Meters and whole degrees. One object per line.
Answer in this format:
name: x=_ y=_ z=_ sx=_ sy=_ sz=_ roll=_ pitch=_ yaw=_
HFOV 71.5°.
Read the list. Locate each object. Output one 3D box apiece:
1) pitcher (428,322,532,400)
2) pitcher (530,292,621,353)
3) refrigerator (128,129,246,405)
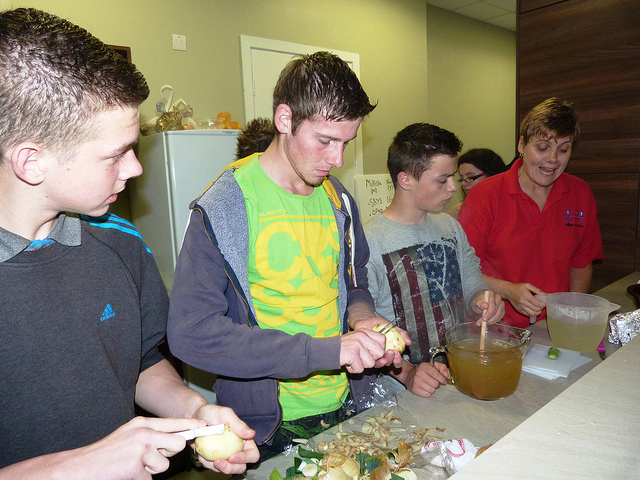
pitcher: x=0.485 y=0.327 z=1.433 sx=0.271 sy=0.230 sz=0.297 roll=4 pitch=9 yaw=12
pitcher: x=0.926 y=0.299 z=1.618 sx=0.189 sy=0.181 sz=0.251 roll=-9 pitch=12 yaw=-40
refrigerator: x=-0.716 y=0.220 z=3.037 sx=0.729 sy=1.998 sz=0.774 roll=-8 pitch=8 yaw=-41
